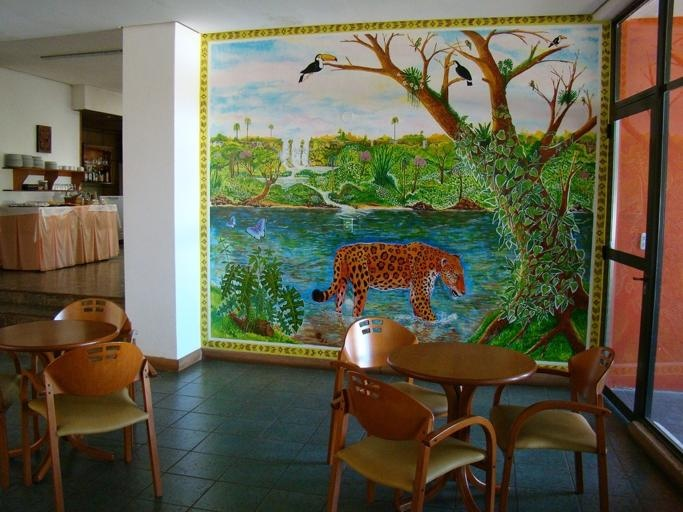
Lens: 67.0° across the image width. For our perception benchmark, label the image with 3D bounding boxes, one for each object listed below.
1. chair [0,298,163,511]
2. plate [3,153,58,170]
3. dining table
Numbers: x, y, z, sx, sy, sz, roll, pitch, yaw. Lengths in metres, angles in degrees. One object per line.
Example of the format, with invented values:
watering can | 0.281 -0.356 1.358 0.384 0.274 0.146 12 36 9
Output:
chair | -1.890 1.121 3.749 0.928 1.432 1.148 -6 20 -32
plate | -5.519 -1.542 9.115 0.231 0.270 0.888 5 12 20
dining table | 0.809 1.007 3.683 1.044 0.963 1.000 -10 14 -38
